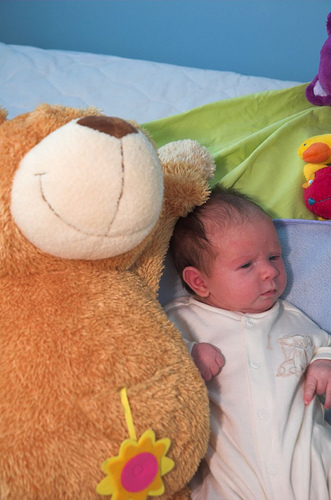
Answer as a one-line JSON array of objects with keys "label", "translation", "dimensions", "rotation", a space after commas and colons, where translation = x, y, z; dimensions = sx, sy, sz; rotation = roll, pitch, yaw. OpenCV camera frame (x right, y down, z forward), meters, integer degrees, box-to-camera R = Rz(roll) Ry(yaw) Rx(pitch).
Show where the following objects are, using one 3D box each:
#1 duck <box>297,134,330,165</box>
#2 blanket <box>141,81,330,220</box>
[{"label": "duck", "translation": [0.336, -0.235, 1.128], "dimensions": [0.086, 0.040, 0.061], "rotation": [-5, 11, -36]}, {"label": "blanket", "translation": [0.228, -0.208, 1.353], "dimensions": [0.556, 0.054, 0.428], "rotation": [-11, 46, 4]}]
